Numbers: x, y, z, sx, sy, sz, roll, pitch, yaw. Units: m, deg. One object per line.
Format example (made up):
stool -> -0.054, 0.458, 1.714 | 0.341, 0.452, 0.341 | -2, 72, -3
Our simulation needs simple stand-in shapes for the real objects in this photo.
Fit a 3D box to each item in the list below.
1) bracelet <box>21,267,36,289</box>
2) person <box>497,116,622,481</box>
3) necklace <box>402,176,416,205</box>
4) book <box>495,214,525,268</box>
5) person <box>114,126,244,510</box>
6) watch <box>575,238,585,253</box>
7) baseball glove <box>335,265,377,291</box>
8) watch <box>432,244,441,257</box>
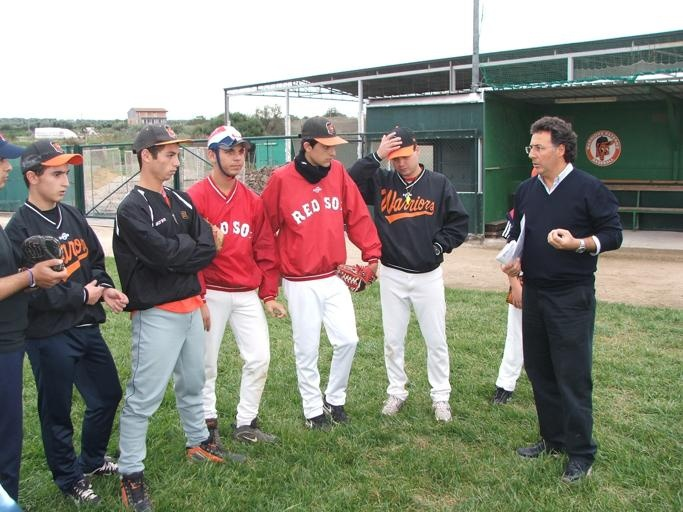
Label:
bracelet -> -1.825, 0.135, 3.292 | 0.069, 0.100, 0.043 | 1, 1, -11
person -> 1.544, 0.263, 4.053 | 0.749, 2.470, 0.587 | 9, 14, 42
necklace -> 0.590, -0.552, 4.939 | 0.076, 0.205, 0.117 | 1, 11, 6
book -> 1.256, -0.112, 4.180 | 0.125, 0.374, 0.271 | 10, 0, 6
person -> -1.214, 0.349, 3.842 | 0.554, 2.402, 0.927 | 7, 13, 37
watch -> 1.626, -0.074, 3.815 | 0.046, 0.078, 0.078 | -1, -12, 9
baseball glove -> 0.139, 0.155, 4.741 | 0.208, 0.277, 0.128 | -46, 1, -18
watch -> 0.829, -0.042, 4.854 | 0.029, 0.093, 0.067 | -22, -17, -17
